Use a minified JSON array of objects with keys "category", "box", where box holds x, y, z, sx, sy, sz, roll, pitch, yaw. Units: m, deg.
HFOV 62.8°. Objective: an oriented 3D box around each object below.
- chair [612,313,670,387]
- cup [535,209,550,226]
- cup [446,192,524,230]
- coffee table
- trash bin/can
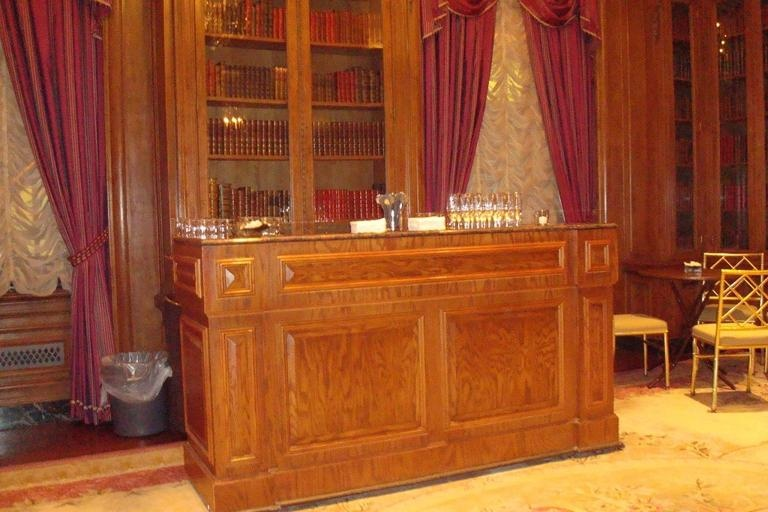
[{"category":"chair","box":[2.507,0.916,6.128,0.474,0.516,0.760,-1,2,3]},{"category":"cup","box":[1.290,-0.304,4.994,0.147,0.154,0.151,1,6,0]},{"category":"cup","box":[0.754,-0.343,4.722,0.526,0.245,0.136,0,11,-1]},{"category":"coffee table","box":[2.739,0.597,6.252,1.031,1.121,1.049,-1,11,8]},{"category":"trash bin/can","box":[-1.929,1.068,5.202,0.633,0.734,0.570,-1,1,-9]}]
